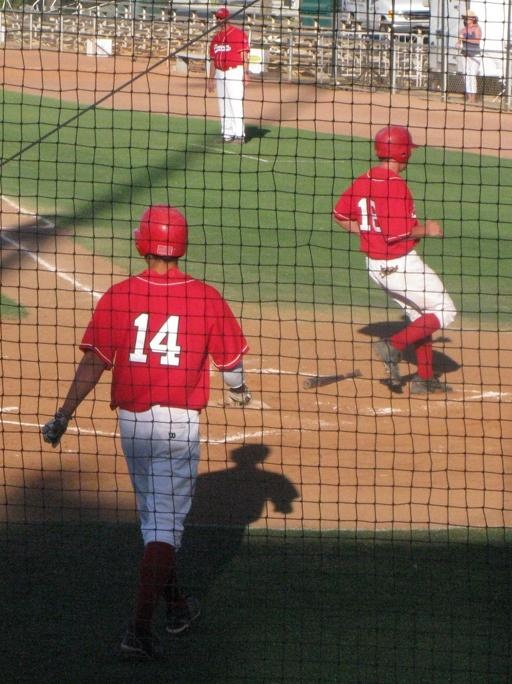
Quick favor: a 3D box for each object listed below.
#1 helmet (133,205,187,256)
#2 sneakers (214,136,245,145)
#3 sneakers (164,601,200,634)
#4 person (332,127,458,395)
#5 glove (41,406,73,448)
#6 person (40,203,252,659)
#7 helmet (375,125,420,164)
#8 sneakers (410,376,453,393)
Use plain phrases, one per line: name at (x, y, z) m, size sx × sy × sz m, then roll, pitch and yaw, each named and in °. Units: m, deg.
helmet at (-0.554, -0.633, 7.395) m, size 0.276 × 0.242 × 0.309 m, roll 2°, pitch 38°, yaw -9°
sneakers at (-0.339, -2.458, 16.026) m, size 0.420 × 0.146 × 0.127 m, roll -3°, pitch 9°, yaw -4°
sneakers at (-0.402, 1.530, 7.373) m, size 0.136 × 0.101 × 0.210 m, roll 30°, pitch 64°, yaw 15°
person at (1.091, -0.650, 10.027) m, size 0.544 × 1.973 × 0.936 m, roll -8°, pitch 19°, yaw -31°
glove at (-1.111, 0.464, 7.335) m, size 0.159 × 0.221 × 0.086 m, roll 27°, pitch -13°, yaw 2°
person at (-0.598, 0.455, 7.290) m, size 0.861 × 2.338 × 1.058 m, roll 6°, pitch 16°, yaw 15°
helmet at (1.052, -1.484, 9.884) m, size 0.290 × 0.294 × 0.263 m, roll 3°, pitch 15°, yaw 4°
sneakers at (1.335, 0.310, 9.948) m, size 0.231 × 0.072 × 0.144 m, roll -1°, pitch 3°, yaw -4°
